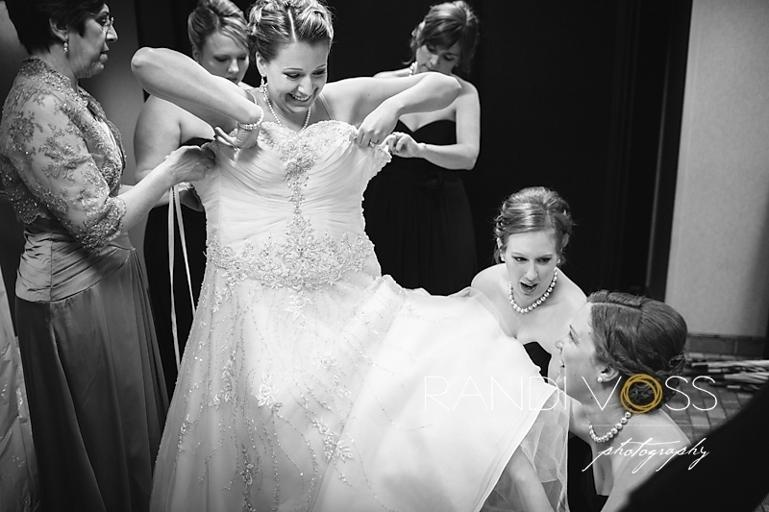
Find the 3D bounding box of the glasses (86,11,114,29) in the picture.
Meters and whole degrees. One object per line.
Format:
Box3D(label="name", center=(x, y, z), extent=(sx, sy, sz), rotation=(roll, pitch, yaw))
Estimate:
Box3D(label="glasses", center=(-0.978, -0.819, 2.273), extent=(0.076, 0.049, 0.059), rotation=(24, 28, 31))
